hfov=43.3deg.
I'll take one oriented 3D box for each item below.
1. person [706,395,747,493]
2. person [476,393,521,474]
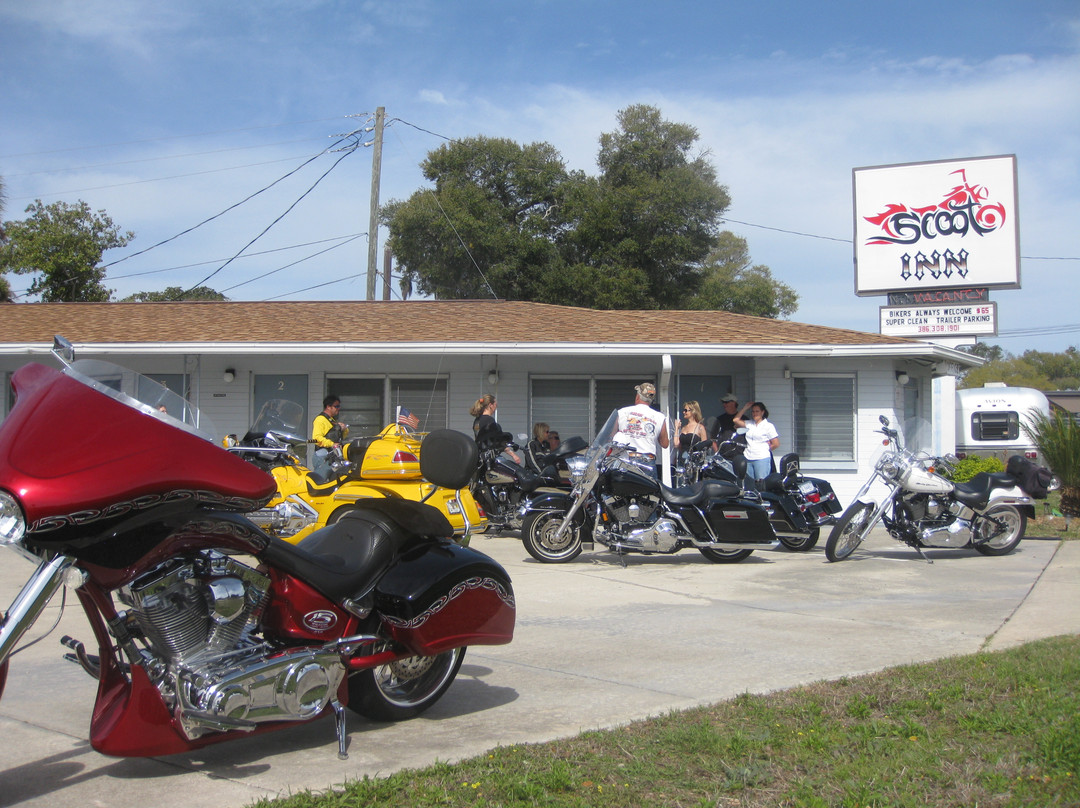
[{"bbox_3d":[2.712,0.459,19.543,0.683,0.856,1.370,-2,-6,4],"label":"person"},{"bbox_3d":[-0.539,0.365,17.449,0.522,0.934,0.532,-3,9,-24],"label":"person"}]
